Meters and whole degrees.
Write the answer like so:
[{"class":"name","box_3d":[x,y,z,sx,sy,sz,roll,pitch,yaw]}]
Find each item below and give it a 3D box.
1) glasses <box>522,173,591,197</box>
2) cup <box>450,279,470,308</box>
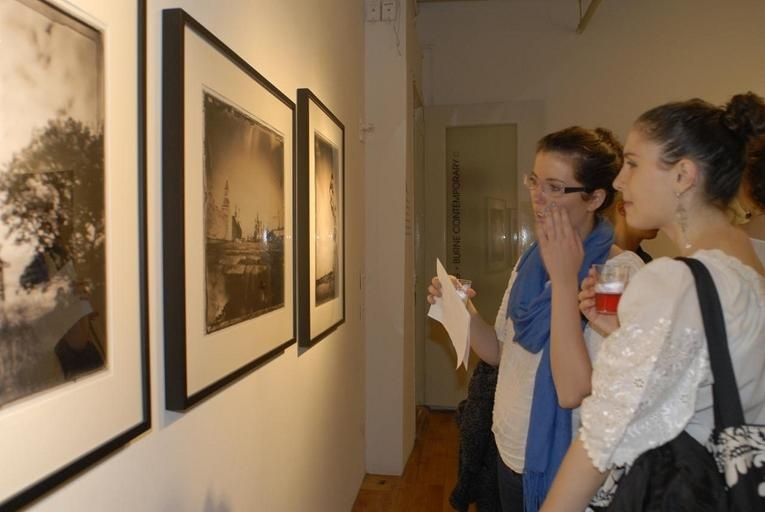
[{"class":"glasses","box_3d":[0.619,-0.232,1.947,0.121,0.037,0.127,5,12,-25]},{"class":"cup","box_3d":[0.285,0.129,2.060,0.073,0.090,0.081,-1,-7,4]}]
